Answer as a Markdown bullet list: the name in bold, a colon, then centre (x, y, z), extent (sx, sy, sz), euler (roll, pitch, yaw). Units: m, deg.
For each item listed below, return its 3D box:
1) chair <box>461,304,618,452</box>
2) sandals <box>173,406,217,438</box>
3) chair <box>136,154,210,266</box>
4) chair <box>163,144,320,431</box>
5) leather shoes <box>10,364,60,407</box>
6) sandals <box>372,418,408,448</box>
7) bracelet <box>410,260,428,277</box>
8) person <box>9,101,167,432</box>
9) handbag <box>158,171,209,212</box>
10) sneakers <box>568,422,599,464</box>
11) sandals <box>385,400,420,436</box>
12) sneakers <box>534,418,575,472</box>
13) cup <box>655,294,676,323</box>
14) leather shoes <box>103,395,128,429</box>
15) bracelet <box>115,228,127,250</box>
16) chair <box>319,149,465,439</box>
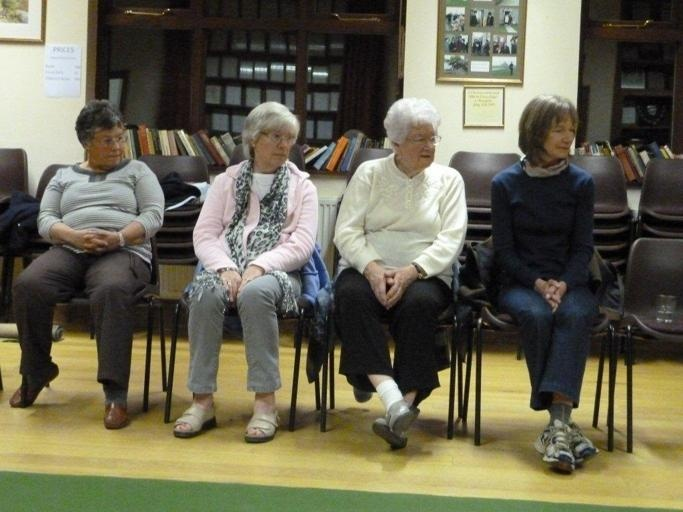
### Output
- **chair**: centre (0.808, 0.454, 2.572), extent (0.625, 0.697, 0.541), euler (1, -2, 0)
- **sandals**: centre (-0.587, 0.670, 2.364), extent (0.073, 0.083, 0.190), euler (-2, -7, 20)
- **chair**: centre (-1.069, -0.330, 4.027), extent (0.589, 0.900, 0.627), euler (0, 3, -2)
- **chair**: centre (-0.390, 0.076, 2.526), extent (0.553, 1.241, 0.609), euler (1, 5, -3)
- **leather shoes**: centre (-1.372, 0.583, 2.632), extent (0.194, 0.077, 0.074), euler (-43, 22, -5)
- **sandals**: centre (0.182, 0.659, 2.201), extent (0.054, 0.129, 0.084), euler (-33, 15, 41)
- **bracelet**: centre (0.316, 0.058, 2.387), extent (0.062, 0.064, 0.029), euler (2, 5, 1)
- **person**: centre (-1.159, -0.018, 2.627), extent (0.600, 1.372, 0.633), euler (1, 5, 1)
- **handbag**: centre (-1.019, -0.390, 3.786), extent (0.257, 0.094, 0.277), euler (-7, 46, -18)
- **sneakers**: centre (0.862, 0.673, 2.188), extent (0.070, 0.081, 0.185), euler (-25, 15, -5)
- **sandals**: centre (0.233, 0.613, 2.220), extent (0.082, 0.081, 0.194), euler (-39, -28, -10)
- **sneakers**: centre (0.771, 0.677, 2.157), extent (0.082, 0.101, 0.200), euler (1, 2, -3)
- **cup**: centre (1.369, 0.227, 2.487), extent (0.067, 0.114, 0.131), euler (4, 6, 27)
- **leather shoes**: centre (-0.925, 0.643, 2.399), extent (0.068, 0.092, 0.131), euler (5, -18, -13)
- **bracelet**: centre (-0.983, -0.075, 2.682), extent (0.050, 0.079, 0.082), euler (-20, 4, -6)
- **chair**: centre (0.214, 0.076, 2.396), extent (0.551, 0.999, 0.541), euler (2, 5, 11)
